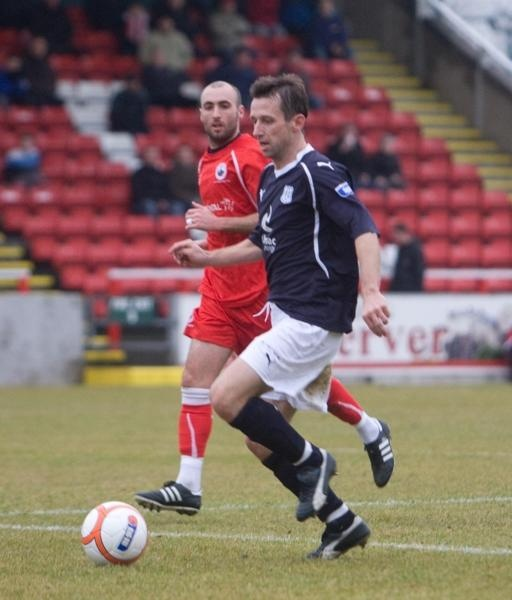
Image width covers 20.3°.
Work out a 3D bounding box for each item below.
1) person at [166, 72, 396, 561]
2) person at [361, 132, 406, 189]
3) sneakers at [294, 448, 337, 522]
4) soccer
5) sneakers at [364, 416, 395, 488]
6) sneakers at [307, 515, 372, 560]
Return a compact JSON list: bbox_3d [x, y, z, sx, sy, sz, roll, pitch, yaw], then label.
[{"bbox_3d":[0.234,0.060,7.999,0.931,2.581,1.047,0,5,-1],"label":"person"},{"bbox_3d":[1.706,-1.845,19.517,0.554,0.779,0.307,0,28,-6],"label":"person"},{"bbox_3d":[0.323,0.991,7.718,0.272,0.385,0.193,-1,5,-14],"label":"sneakers"},{"bbox_3d":[-0.756,1.219,7.712,0.321,0.300,0.302,11,-41,-4],"label":"soccer"},{"bbox_3d":[0.746,0.924,8.679,0.173,0.413,0.145,16,-33,-32],"label":"sneakers"},{"bbox_3d":[0.426,1.248,7.805,0.385,0.136,0.185,-16,-48,35],"label":"sneakers"}]
